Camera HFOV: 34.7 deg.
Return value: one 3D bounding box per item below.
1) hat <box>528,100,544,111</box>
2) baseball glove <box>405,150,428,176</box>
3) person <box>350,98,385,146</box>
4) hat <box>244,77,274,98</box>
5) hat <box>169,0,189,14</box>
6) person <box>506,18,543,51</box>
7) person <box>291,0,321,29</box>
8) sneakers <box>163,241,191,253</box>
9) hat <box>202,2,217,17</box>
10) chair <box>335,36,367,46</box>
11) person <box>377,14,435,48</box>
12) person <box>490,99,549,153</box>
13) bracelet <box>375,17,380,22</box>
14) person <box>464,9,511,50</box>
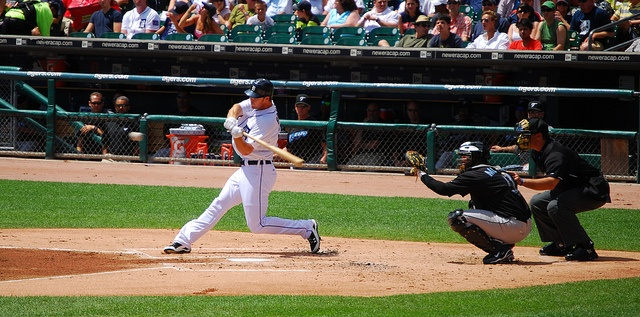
[{"bbox_3d":[5.394,-1.298,25.603,0.347,0.225,0.480,3,3,17],"label":"hat"},{"bbox_3d":[2.010,0.118,22.260,0.438,0.554,0.199,-34,-10,-42],"label":"baseball glove"},{"bbox_3d":[1.269,-0.849,27.145,0.755,1.196,0.797,2,3,1],"label":"person"},{"bbox_3d":[-1.331,-1.542,22.359,0.559,0.253,0.381,5,14,-10],"label":"hat"},{"bbox_3d":[-4.097,-4.274,29.387,0.609,0.296,0.365,12,36,6],"label":"hat"},{"bbox_3d":[5.460,-3.188,27.059,0.638,0.868,1.075,6,1,-43],"label":"person"},{"bbox_3d":[-0.298,-4.136,29.519,0.921,1.098,0.901,-5,8,-6],"label":"person"},{"bbox_3d":[-3.118,1.934,22.390,0.570,0.204,0.222,4,0,-5],"label":"sneakers"},{"bbox_3d":[-3.171,-4.210,29.267,0.291,0.406,0.796,2,3,0],"label":"hat"},{"bbox_3d":[0.847,-3.196,27.985,0.792,0.325,1.007,1,3,-10],"label":"chair"},{"bbox_3d":[2.239,-3.510,28.022,1.202,1.320,1.101,1,4,11],"label":"person"},{"bbox_3d":[5.148,-1.016,25.984,1.229,1.430,0.771,0,-35,16],"label":"person"},{"bbox_3d":[1.598,-3.871,28.677,0.139,0.051,0.163,-1,25,3],"label":"bracelet"},{"bbox_3d":[4.609,-3.385,27.652,1.155,1.241,1.672,-7,17,-3],"label":"person"}]
